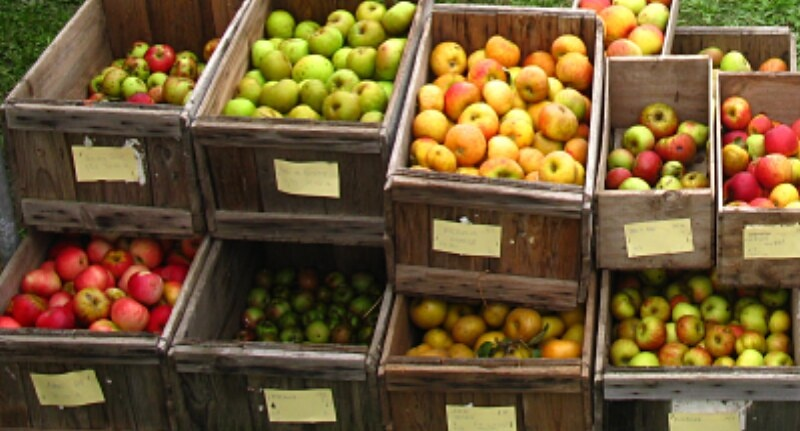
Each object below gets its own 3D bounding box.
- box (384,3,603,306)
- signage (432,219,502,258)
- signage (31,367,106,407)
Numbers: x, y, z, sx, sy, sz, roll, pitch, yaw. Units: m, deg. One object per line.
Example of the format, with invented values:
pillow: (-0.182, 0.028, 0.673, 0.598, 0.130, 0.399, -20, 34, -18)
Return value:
box: (0.713, -0.252, 4.903, 1.516, 1.157, 2.011, 5, 61, 11)
signage: (0.476, 0.144, 4.090, 0.014, 0.208, 0.375, 17, -9, -34)
signage: (-2.032, 1.055, 4.219, 0.295, 0.206, 0.013, 3, 33, 4)
